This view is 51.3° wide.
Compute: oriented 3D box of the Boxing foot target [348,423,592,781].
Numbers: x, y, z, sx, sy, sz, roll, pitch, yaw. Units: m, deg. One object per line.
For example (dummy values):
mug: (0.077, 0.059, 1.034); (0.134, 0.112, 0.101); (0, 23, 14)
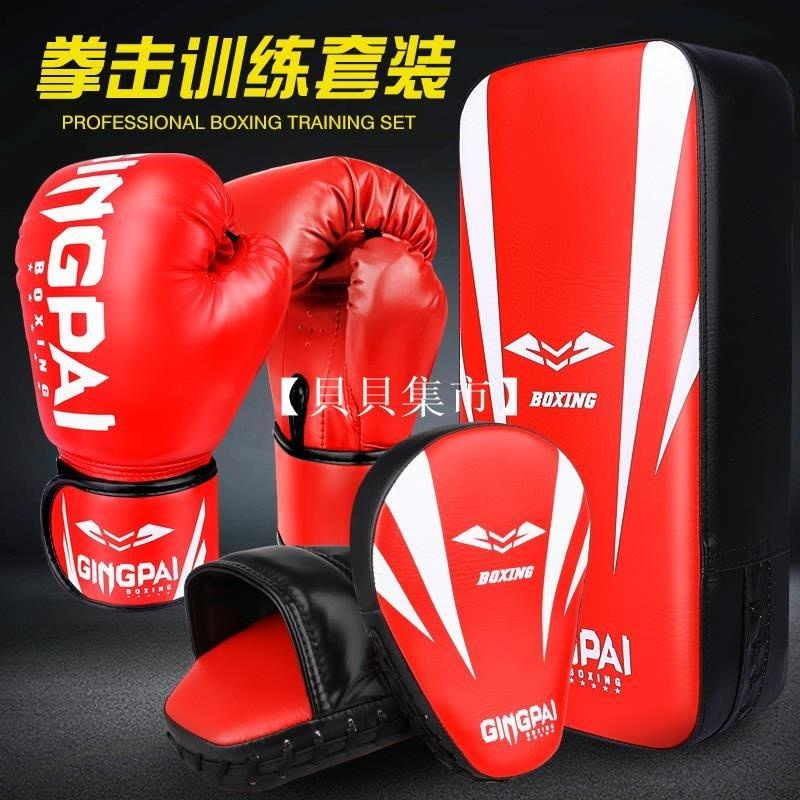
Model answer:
Boxing foot target: (0.127, 0.288, 1.217); (0.392, 0.508, 0.123); (-4, 7, -30)

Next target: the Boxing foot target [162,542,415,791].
Boxing foot target: (-0.133, 0.367, 1.328); (0.432, 0.255, 0.272); (-10, 13, -37)

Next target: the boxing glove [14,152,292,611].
boxing glove: (-0.474, -0.039, 1.510); (0.509, 0.816, 0.263); (0, 6, 7)
